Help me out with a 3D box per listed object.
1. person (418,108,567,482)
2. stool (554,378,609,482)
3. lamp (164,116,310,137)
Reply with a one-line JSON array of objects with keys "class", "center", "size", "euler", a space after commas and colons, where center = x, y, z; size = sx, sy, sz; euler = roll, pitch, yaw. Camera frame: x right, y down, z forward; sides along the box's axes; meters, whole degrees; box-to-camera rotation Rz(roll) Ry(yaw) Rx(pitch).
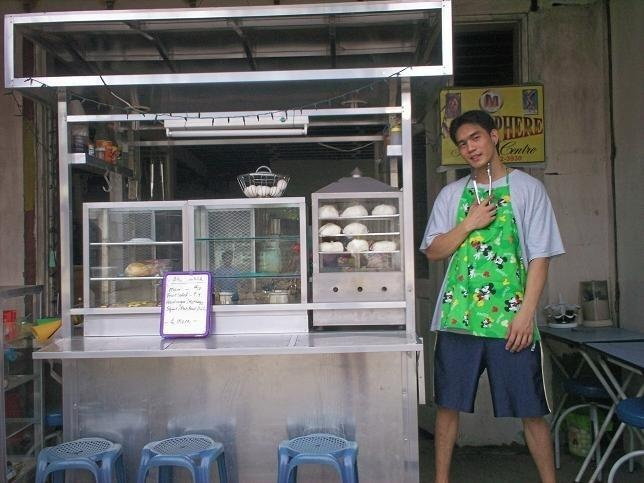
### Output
[{"class": "person", "center": [1.158, 0.305, 5.104], "size": [0.753, 2.587, 0.737], "euler": [4, 4, 25]}, {"class": "stool", "center": [2.162, 1.471, 6.377], "size": [0.451, 0.856, 0.460], "euler": [6, 4, -5]}, {"class": "lamp", "center": [-0.638, -0.868, 5.778], "size": [1.051, 0.133, 0.276], "euler": [0, -4, -1]}]
